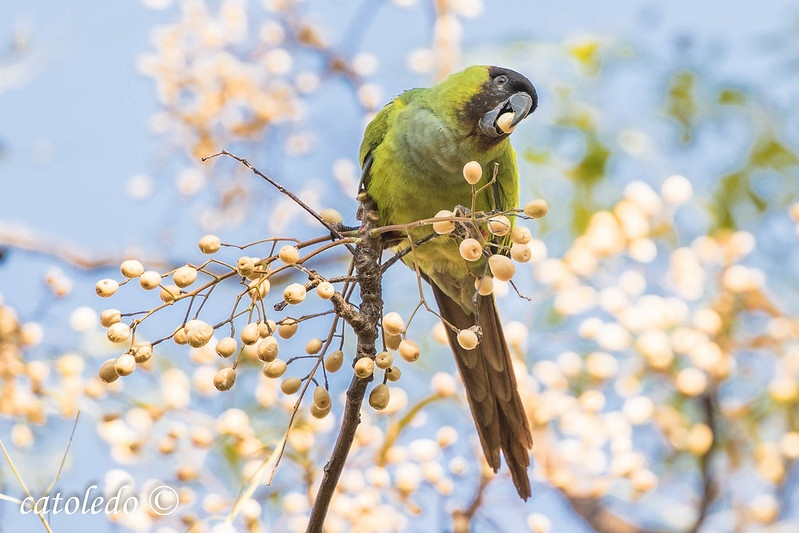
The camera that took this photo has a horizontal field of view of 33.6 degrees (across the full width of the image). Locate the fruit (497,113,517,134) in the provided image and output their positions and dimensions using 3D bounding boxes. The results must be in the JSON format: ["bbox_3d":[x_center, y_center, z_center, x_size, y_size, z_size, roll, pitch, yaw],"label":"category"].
[{"bbox_3d":[0.345,-0.472,4.325,0.048,0.052,0.066,23,-46,4],"label":"fruit"}]
